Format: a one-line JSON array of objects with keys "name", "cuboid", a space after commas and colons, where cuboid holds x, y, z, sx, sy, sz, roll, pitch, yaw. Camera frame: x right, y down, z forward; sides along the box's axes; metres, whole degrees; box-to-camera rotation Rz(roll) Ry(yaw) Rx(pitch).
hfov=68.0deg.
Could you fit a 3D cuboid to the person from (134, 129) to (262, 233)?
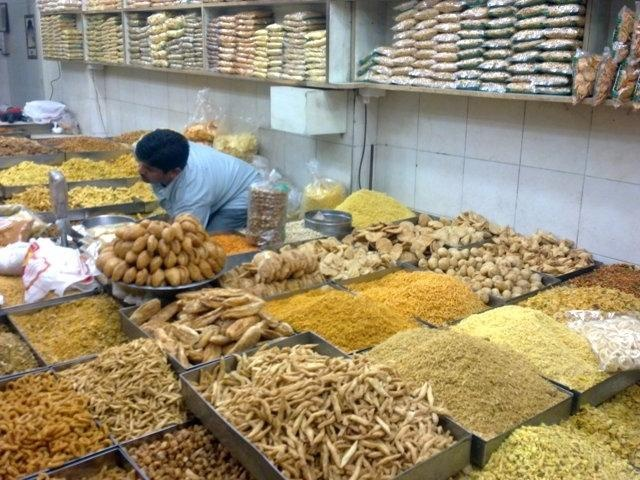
[{"name": "person", "cuboid": [-0.994, -0.472, 3.710, 0.852, 0.859, 0.709, -13, 19, -28]}]
